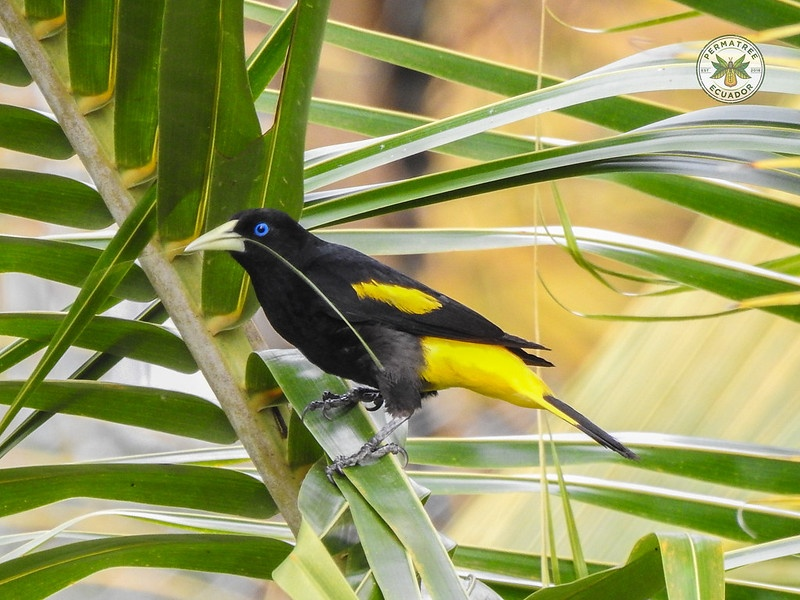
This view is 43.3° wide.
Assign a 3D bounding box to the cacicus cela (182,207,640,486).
[{"bbox_3d":[0.034,0.075,2.801,1.362,0.515,0.578,5,-82,-21],"label":"cacicus cela"}]
